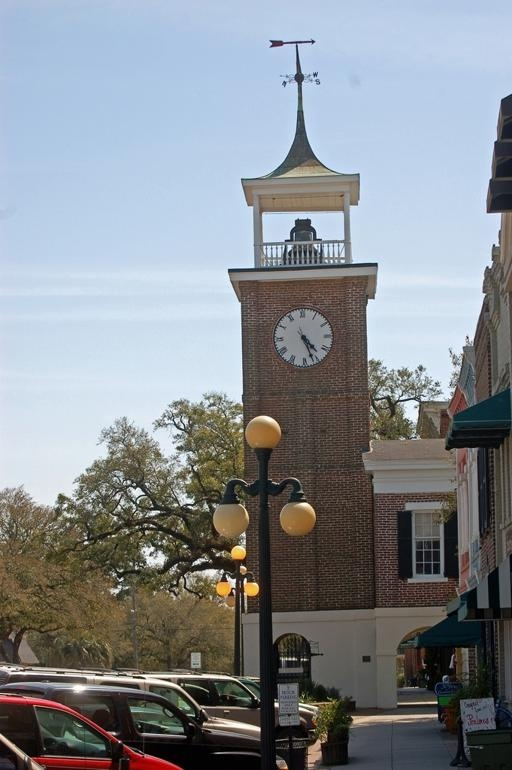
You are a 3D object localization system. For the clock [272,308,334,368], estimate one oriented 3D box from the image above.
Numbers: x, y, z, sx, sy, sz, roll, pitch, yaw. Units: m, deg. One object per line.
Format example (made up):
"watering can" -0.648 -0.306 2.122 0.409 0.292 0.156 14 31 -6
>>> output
"clock" 1.238 -1.258 49.771 1.631 1.959 0.129 -1 -30 3

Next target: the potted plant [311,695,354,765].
"potted plant" 1.280 5.910 30.671 0.669 1.587 1.347 -1 -9 4

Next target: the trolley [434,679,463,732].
"trolley" 3.724 6.192 35.121 0.524 0.890 0.560 -8 19 -15
